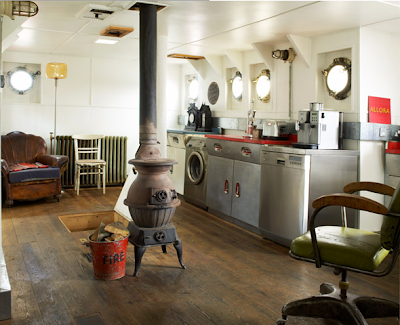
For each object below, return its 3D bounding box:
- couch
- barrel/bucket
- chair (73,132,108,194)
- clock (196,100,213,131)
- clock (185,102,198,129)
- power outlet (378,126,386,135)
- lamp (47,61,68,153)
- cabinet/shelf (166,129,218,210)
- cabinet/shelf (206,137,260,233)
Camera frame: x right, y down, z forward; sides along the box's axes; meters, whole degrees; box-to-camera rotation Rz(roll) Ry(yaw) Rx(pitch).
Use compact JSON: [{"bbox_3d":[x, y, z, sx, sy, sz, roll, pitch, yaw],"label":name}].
[{"bbox_3d":[-3.007,0.096,5.589,1.213,1.410,1.181,0,1,-31],"label":"couch"},{"bbox_3d":[-0.824,0.822,2.759,0.354,0.330,0.361,-2,-2,0],"label":"barrel/bucket"},{"bbox_3d":[-2.186,-0.012,6.015,0.687,1.154,0.715,0,2,-1],"label":"chair"},{"bbox_3d":[0.063,-0.890,6.157,0.200,0.563,0.327,-6,14,-31],"label":"clock"},{"bbox_3d":[-0.192,-0.977,6.439,0.131,0.538,0.465,-1,6,-19],"label":"clock"},{"bbox_3d":[2.198,-0.389,3.736,0.097,0.125,0.012,4,4,-20],"label":"power outlet"},{"bbox_3d":[-2.826,-1.112,6.019,0.319,1.638,0.316,33,32,30],"label":"lamp"},{"bbox_3d":[-0.138,0.056,5.573,0.481,1.188,1.150,-9,16,-42],"label":"cabinet/shelf"},{"bbox_3d":[0.630,0.267,4.382,0.625,1.204,1.191,-2,8,-33],"label":"cabinet/shelf"}]
